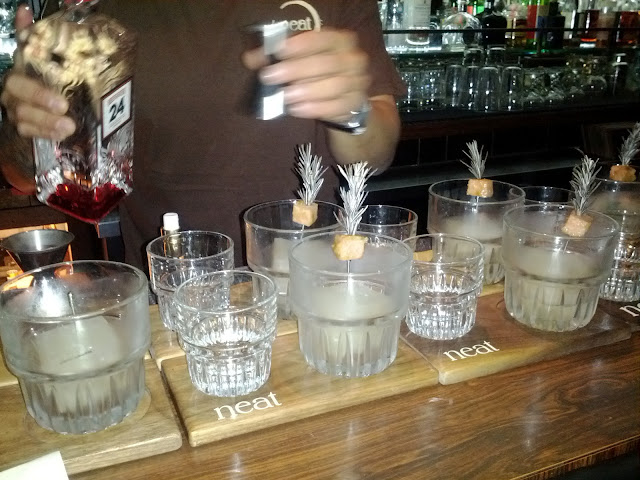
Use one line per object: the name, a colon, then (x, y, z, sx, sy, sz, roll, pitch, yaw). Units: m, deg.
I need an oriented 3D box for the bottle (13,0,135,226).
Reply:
bottle: (-0.345, -0.164, 0.701, 0.170, 0.293, 0.110, -12, 22, -24)

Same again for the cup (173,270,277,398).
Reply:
cup: (-0.127, 0.130, 0.678, 0.127, 0.150, 0.124, -2, 19, 1)

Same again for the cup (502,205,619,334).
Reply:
cup: (0.391, 0.044, 0.879, 0.216, 0.217, 0.196, 3, 22, 18)

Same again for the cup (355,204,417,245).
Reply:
cup: (0.124, -0.036, 0.898, 0.085, 0.063, 0.088, 3, 11, -1)

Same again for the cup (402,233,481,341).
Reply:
cup: (0.207, 0.076, 0.803, 0.123, 0.144, 0.136, 1, 19, 9)

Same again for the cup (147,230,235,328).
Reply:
cup: (-0.193, 0.059, 0.884, 0.161, 0.160, 0.170, 0, 18, 0)

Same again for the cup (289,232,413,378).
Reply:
cup: (0.047, 0.086, 0.702, 0.178, 0.202, 0.119, -4, 19, -4)

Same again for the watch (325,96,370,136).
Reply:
watch: (0.051, -0.247, 0.955, 0.062, 0.066, 0.076, -29, 39, -25)
